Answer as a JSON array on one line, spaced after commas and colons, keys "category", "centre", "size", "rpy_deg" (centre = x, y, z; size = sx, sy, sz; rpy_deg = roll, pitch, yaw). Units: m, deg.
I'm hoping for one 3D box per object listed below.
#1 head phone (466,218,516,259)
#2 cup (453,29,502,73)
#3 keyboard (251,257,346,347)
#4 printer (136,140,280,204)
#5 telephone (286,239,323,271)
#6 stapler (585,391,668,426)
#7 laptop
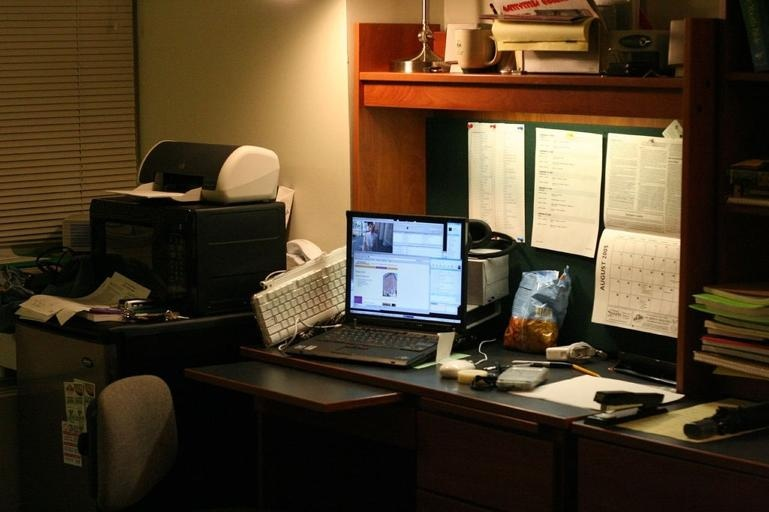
[{"category": "head phone", "centre": [0.394, -0.093, 2.890], "size": [0.344, 0.109, 0.270], "rpy_deg": [-3, 12, -22]}, {"category": "cup", "centre": [0.347, -0.792, 2.535], "size": [0.192, 0.139, 0.125], "rpy_deg": [9, 18, 41]}, {"category": "keyboard", "centre": [-0.312, 0.164, 2.753], "size": [0.141, 0.272, 0.569], "rpy_deg": [-10, 9, 41]}, {"category": "printer", "centre": [-0.766, -0.425, 2.894], "size": [0.602, 0.283, 0.518], "rpy_deg": [10, 15, 36]}, {"category": "telephone", "centre": [-0.375, -0.020, 3.035], "size": [0.203, 0.066, 0.109], "rpy_deg": [-21, 29, -40]}, {"category": "stapler", "centre": [0.745, 0.438, 2.049], "size": [0.321, 0.099, 0.090], "rpy_deg": [-4, 0, -36]}, {"category": "laptop", "centre": [0.016, 0.079, 2.460], "size": [0.766, 0.544, 0.370], "rpy_deg": [3, 12, 21]}]
